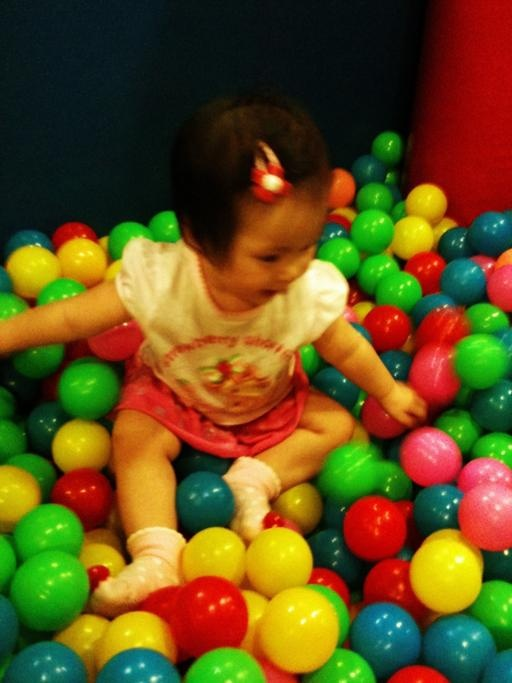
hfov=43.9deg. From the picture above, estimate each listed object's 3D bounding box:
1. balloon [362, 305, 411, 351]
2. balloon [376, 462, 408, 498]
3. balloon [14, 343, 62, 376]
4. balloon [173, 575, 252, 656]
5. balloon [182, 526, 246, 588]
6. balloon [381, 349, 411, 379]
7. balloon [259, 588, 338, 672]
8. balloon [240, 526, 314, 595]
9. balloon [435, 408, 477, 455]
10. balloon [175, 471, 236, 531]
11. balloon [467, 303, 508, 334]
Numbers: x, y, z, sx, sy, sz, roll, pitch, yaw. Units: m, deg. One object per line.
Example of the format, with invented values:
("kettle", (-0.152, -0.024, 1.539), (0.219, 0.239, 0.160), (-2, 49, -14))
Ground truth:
("balloon", (0.290, -0.024, 1.484), (0.106, 0.114, 0.096), (9, 53, 4))
("balloon", (0.235, 0.244, 1.120), (0.052, 0.049, 0.055), (-5, 43, -1))
("balloon", (-0.411, 0.037, 1.215), (0.078, 0.089, 0.071), (0, 89, 11))
("balloon", (-0.050, 0.315, 0.776), (0.090, 0.099, 0.085), (-13, 50, -14))
("balloon", (-0.059, 0.308, 0.893), (0.095, 0.090, 0.097), (4, 85, -11))
("balloon", (0.292, 0.045, 1.329), (0.063, 0.065, 0.059), (-10, 4, -3))
("balloon", (0.048, 0.333, 0.727), (0.063, 0.067, 0.057), (19, 38, 3))
("balloon", (0.030, 0.305, 0.878), (0.095, 0.097, 0.090), (-3, 4, 5))
("balloon", (0.390, 0.166, 1.226), (0.083, 0.088, 0.079), (-9, 2, 2))
("balloon", (-0.077, 0.260, 1.018), (0.091, 0.088, 0.099), (-12, 69, 14))
("balloon", (0.506, -0.048, 1.399), (0.089, 0.029, 0.101), (2, 43, 4))
